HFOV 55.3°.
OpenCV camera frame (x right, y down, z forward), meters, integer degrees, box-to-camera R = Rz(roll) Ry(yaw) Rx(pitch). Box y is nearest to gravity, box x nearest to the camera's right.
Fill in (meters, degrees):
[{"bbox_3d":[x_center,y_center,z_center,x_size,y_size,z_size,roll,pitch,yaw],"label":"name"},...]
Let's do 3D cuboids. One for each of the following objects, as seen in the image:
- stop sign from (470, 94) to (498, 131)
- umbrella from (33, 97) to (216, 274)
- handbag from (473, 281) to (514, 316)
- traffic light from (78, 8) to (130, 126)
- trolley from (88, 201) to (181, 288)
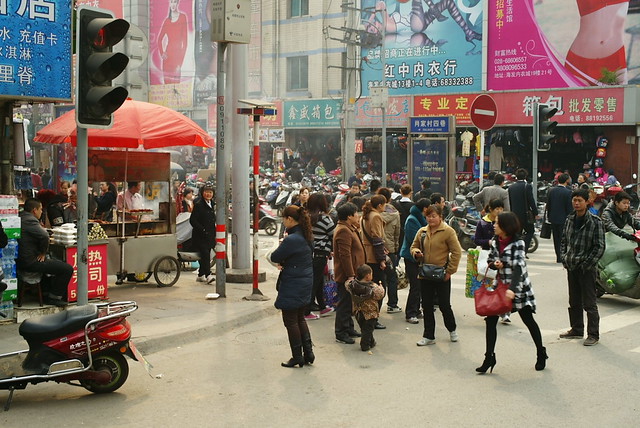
[{"bbox_3d":[4.187,-2.583,15.655,0.591,0.851,0.276,1,7,5],"label":"stop sign"},{"bbox_3d":[-4.227,-0.717,13.501,3.478,3.276,3.484,4,10,27],"label":"umbrella"},{"bbox_3d":[2.420,1.129,8.591,0.512,0.543,0.197,-12,-16,34],"label":"handbag"},{"bbox_3d":[-2.892,-1.879,8.252,0.578,1.697,0.704,2,-1,-21],"label":"traffic light"},{"bbox_3d":[-4.147,0.647,13.258,1.384,1.655,1.899,4,2,41],"label":"trolley"}]
